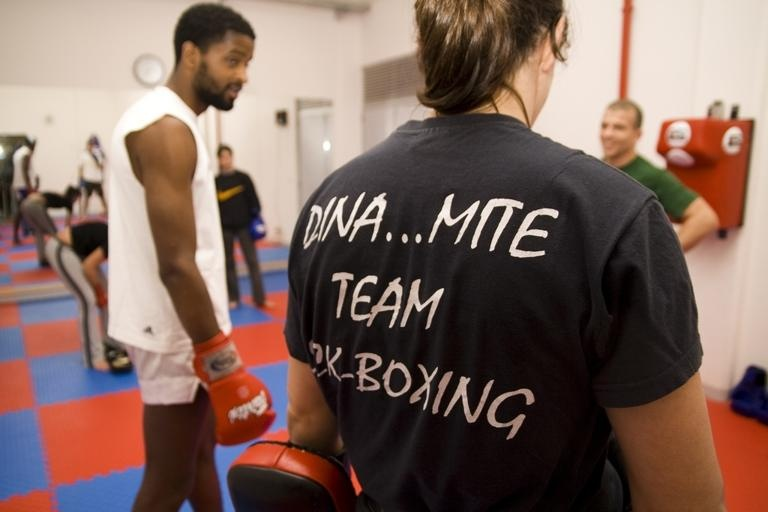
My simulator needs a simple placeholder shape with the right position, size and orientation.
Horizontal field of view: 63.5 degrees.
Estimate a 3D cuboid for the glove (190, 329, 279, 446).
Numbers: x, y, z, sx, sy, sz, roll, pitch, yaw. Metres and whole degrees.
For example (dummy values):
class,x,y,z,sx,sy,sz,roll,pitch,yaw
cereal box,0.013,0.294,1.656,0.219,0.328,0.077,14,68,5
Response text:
class,x,y,z,sx,sy,sz,roll,pitch,yaw
glove,-0.546,0.476,2.204,0.244,0.426,0.143,-10,-23,-48
